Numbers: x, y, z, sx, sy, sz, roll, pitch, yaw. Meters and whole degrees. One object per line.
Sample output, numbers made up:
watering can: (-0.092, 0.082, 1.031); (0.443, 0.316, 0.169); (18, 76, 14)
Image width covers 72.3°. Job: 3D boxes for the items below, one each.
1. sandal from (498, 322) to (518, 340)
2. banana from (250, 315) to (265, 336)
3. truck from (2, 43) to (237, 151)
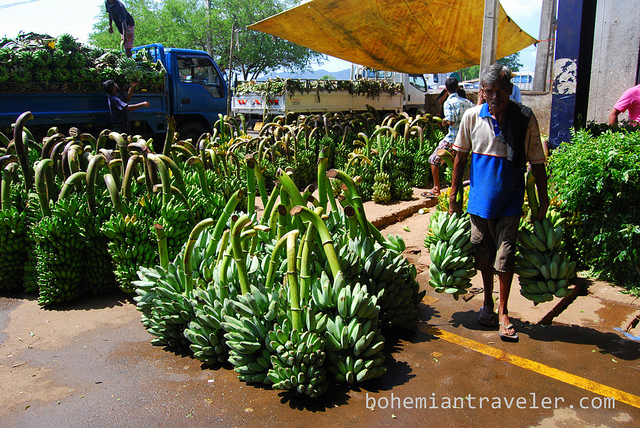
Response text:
sandal: (1.889, 1.152, 4.386); (0.177, 0.139, 0.156); (3, 17, 19)
banana: (-0.539, 0.963, 3.802); (0.069, 0.150, 0.137); (-14, 19, -36)
truck: (-4.846, -2.946, 11.674); (6.268, 3.036, 2.379); (-15, 21, -38)
